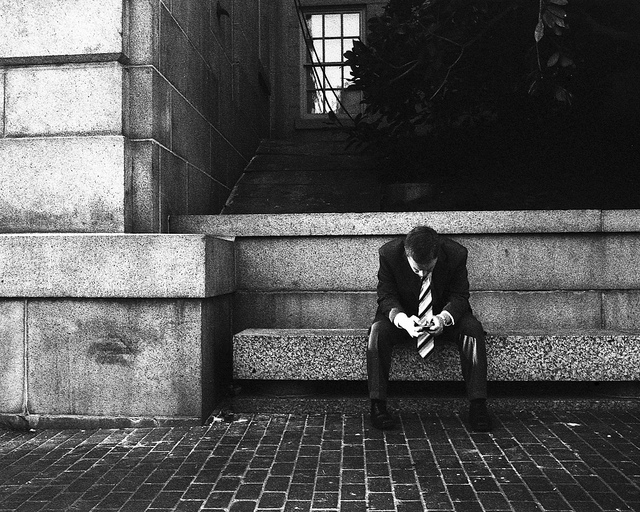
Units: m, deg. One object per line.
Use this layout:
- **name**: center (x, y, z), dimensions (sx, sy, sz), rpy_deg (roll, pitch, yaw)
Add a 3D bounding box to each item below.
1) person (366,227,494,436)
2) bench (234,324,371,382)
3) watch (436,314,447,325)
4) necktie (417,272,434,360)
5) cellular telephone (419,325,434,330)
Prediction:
- **person**: center (0.918, 0.625, 8.014), dimensions (1.058, 1.755, 0.661), rpy_deg (-3, 3, 2)
- **bench**: center (-0.152, 0.919, 8.382), dimensions (1.260, 0.464, 0.865), rpy_deg (-2, 3, 3)
- **watch**: center (1.063, 0.548, 7.919), dimensions (0.088, 0.084, 0.085), rpy_deg (16, -43, -19)
- **necktie**: center (0.911, 0.521, 7.961), dimensions (0.153, 0.743, 0.296), rpy_deg (-3, 3, 7)
- **cellular telephone**: center (0.914, 0.613, 7.856), dimensions (0.095, 0.041, 0.024), rpy_deg (-4, 3, -22)
